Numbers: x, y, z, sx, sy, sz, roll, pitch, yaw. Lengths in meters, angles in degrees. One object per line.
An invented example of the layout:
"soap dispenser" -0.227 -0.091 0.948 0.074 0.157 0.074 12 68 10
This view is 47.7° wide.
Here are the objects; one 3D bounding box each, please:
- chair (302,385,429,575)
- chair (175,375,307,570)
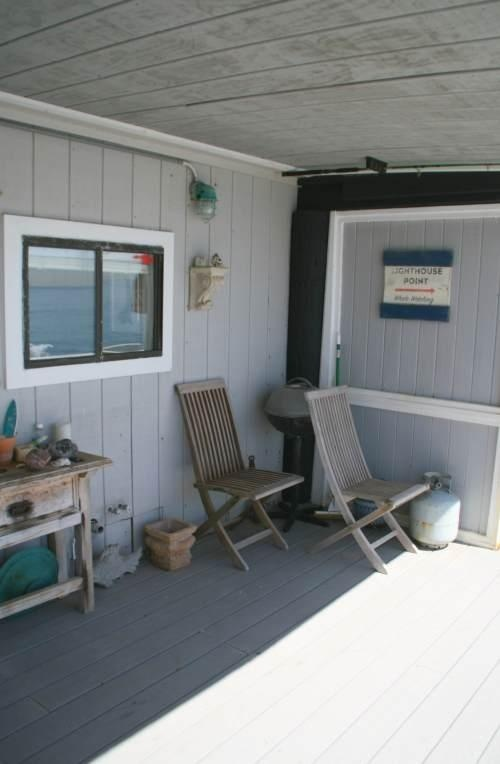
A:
"chair" 0.903 0.699 4.231 0.734 1.193 0.899 -4 10 -40
"chair" -0.045 0.607 4.152 0.789 1.200 0.862 6 6 34
